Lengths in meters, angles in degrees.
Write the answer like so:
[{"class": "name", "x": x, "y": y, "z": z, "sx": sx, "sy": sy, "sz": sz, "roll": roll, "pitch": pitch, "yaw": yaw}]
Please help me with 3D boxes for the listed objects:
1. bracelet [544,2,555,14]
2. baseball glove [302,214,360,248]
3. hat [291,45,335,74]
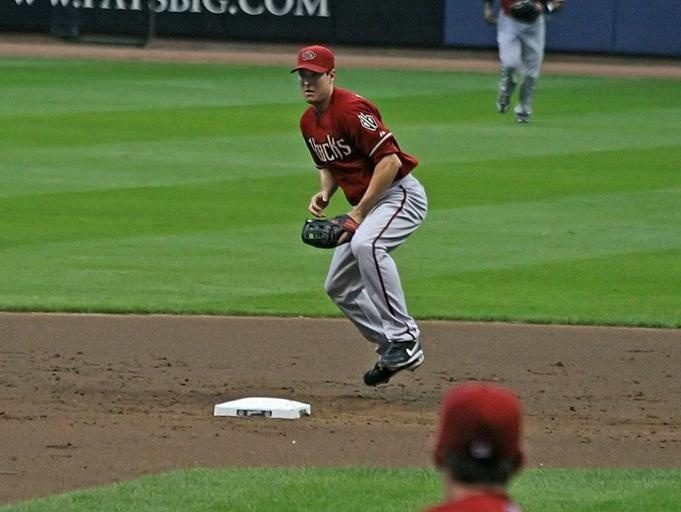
[{"class": "bracelet", "x": 3.018, "y": -3.521, "z": 25.193, "sx": 0.136, "sy": 0.145, "sz": 0.261, "roll": 4, "pitch": 19, "yaw": 18}, {"class": "baseball glove", "x": -0.075, "y": -0.278, "z": 18.413, "sx": 0.666, "sy": 0.277, "sz": 0.455, "roll": -10, "pitch": 28, "yaw": -18}, {"class": "hat", "x": -0.200, "y": -2.029, "z": 18.389, "sx": 0.312, "sy": 0.206, "sz": 0.424, "roll": 3, "pitch": 4, "yaw": 36}]
